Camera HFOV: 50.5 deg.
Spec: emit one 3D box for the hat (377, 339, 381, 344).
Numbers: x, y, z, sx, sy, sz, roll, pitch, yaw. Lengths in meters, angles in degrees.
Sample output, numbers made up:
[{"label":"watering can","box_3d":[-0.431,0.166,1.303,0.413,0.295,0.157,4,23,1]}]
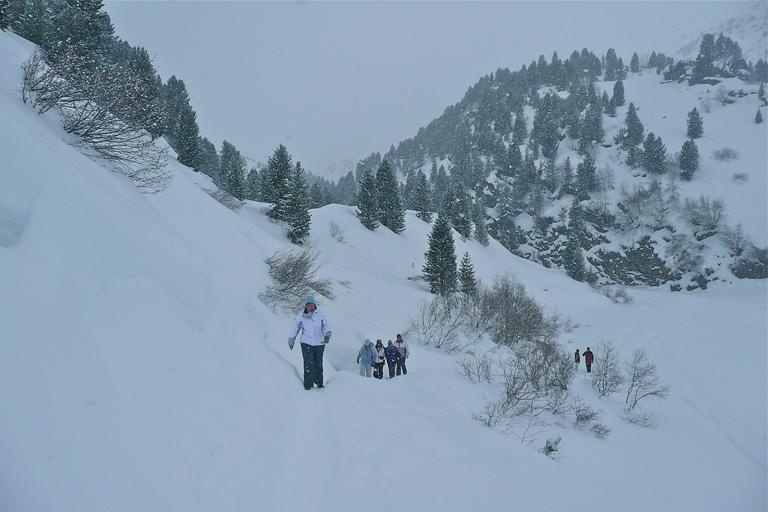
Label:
[{"label":"hat","box_3d":[-0.726,13.760,131.855,0.518,0.754,0.709,-1,4,3]}]
